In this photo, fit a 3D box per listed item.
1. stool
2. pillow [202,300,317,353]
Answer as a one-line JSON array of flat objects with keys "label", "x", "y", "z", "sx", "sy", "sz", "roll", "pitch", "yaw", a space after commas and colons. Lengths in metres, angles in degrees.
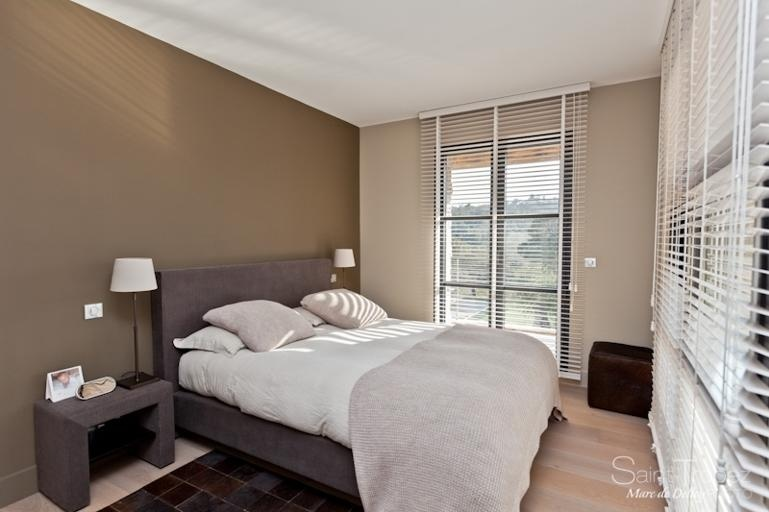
[{"label": "stool", "x": 2.126, "y": 1.171, "z": 4.810, "sx": 0.608, "sy": 0.575, "sz": 0.594, "roll": 0, "pitch": 2, "yaw": -3}, {"label": "pillow", "x": -1.114, "y": 0.577, "z": 4.328, "sx": 0.557, "sy": 0.170, "sz": 0.571, "roll": 14, "pitch": 7, "yaw": 22}]
